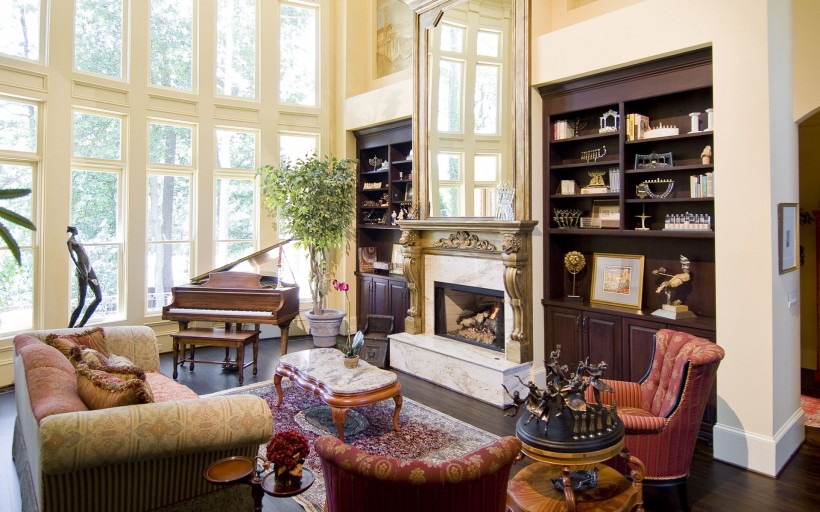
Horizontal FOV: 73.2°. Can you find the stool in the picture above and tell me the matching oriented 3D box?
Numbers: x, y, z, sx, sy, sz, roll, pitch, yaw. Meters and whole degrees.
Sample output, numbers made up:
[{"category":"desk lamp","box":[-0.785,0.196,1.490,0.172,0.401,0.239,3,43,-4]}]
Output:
[{"category":"stool","box":[-2.934,1.503,8.374,1.159,0.652,0.729,3,2,9]}]

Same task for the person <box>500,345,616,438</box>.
[{"category":"person","box":[1.522,1.311,5.276,0.786,0.723,0.430,0,4,10]}]

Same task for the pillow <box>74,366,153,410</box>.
[{"category":"pillow","box":[-2.764,1.240,5.100,0.476,0.173,0.483,8,-3,37]}]

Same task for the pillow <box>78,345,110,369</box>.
[{"category":"pillow","box":[-3.174,1.051,5.558,0.262,0.115,0.345,5,3,-43]}]

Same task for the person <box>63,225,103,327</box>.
[{"category":"person","box":[-4.781,0.332,8.075,0.420,1.514,1.147,-2,4,-30]}]

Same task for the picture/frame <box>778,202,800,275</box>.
[{"category":"picture/frame","box":[4.361,-0.202,6.355,0.861,0.869,0.069,-3,1,-45]}]

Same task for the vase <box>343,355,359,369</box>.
[{"category":"vase","box":[-0.735,1.330,6.901,0.156,0.112,0.155,0,-3,3]}]

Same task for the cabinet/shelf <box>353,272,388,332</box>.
[{"category":"cabinet/shelf","box":[-0.477,0.853,9.951,0.429,0.977,1.048,4,-7,-33]}]

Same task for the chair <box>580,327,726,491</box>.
[{"category":"chair","box":[2.564,1.704,6.086,1.540,1.505,1.342,-2,4,6]}]

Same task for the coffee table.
[{"category":"coffee table","box":[-0.966,1.716,7.063,1.118,0.583,1.776,-4,10,-42]}]

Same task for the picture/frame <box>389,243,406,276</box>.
[{"category":"picture/frame","box":[-0.210,0.073,9.632,0.053,0.672,0.557,3,-5,-26]}]

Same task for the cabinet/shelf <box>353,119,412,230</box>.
[{"category":"cabinet/shelf","box":[-0.473,-1.467,9.894,0.539,2.213,2.060,1,-2,-38]}]

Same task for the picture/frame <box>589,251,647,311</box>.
[{"category":"picture/frame","box":[2.820,0.352,7.382,0.769,0.818,0.060,2,-7,40]}]

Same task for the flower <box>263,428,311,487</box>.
[{"category":"flower","box":[-1.005,1.744,4.926,0.491,0.552,0.416,3,-6,-25]}]

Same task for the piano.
[{"category":"piano","box":[-2.879,0.785,8.933,2.056,1.945,2.411,0,-1,-44]}]
